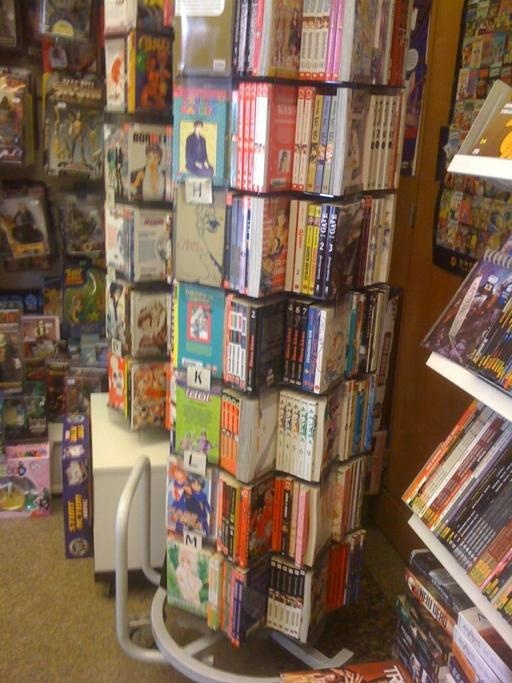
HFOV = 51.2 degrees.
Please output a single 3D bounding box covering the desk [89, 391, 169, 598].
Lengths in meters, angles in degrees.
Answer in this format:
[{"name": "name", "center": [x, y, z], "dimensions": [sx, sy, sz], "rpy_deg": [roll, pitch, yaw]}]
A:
[{"name": "desk", "center": [-0.516, 0.543, 2.218], "dimensions": [0.291, 0.634, 0.730], "rpy_deg": [1, 18, -2]}]
